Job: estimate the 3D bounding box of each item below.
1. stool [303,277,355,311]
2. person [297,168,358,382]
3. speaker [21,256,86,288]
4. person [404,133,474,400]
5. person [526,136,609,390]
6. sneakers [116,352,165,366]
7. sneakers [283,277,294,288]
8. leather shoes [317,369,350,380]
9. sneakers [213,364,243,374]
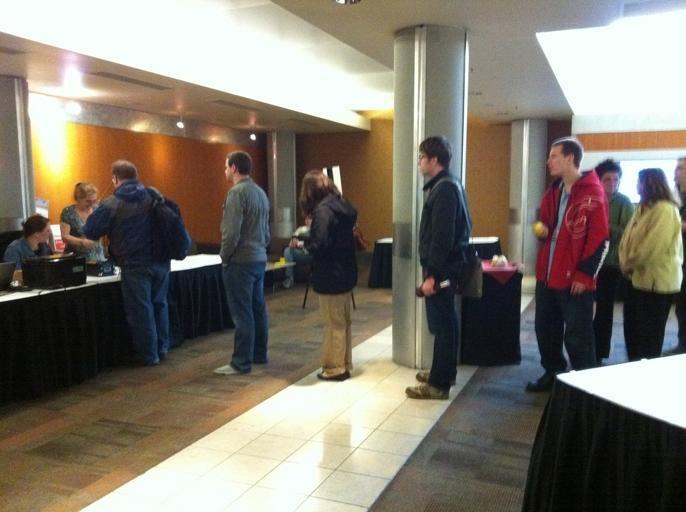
[{"bbox_3d":[-0.270,0.588,7.898,0.536,0.546,0.466,1,-7,7],"label":"stool"},{"bbox_3d":[-0.113,0.174,4.721,0.461,1.790,0.373,-1,9,1],"label":"person"},{"bbox_3d":[-2.402,0.128,4.656,0.475,0.279,0.239,-7,11,-31],"label":"speaker"},{"bbox_3d":[0.733,0.106,4.313,0.434,2.037,0.409,3,10,22],"label":"person"},{"bbox_3d":[1.718,0.124,4.250,0.399,2.015,0.643,-3,9,-13],"label":"person"},{"bbox_3d":[-1.910,0.966,5.283,0.368,0.169,0.141,-2,2,4],"label":"sneakers"},{"bbox_3d":[-0.896,0.422,9.228,0.168,0.221,0.130,4,8,-1],"label":"sneakers"},{"bbox_3d":[-0.080,1.038,4.801,0.263,0.119,0.101,3,2,3],"label":"leather shoes"},{"bbox_3d":[-1.037,1.022,5.047,0.252,0.110,0.095,9,-15,1],"label":"sneakers"}]
